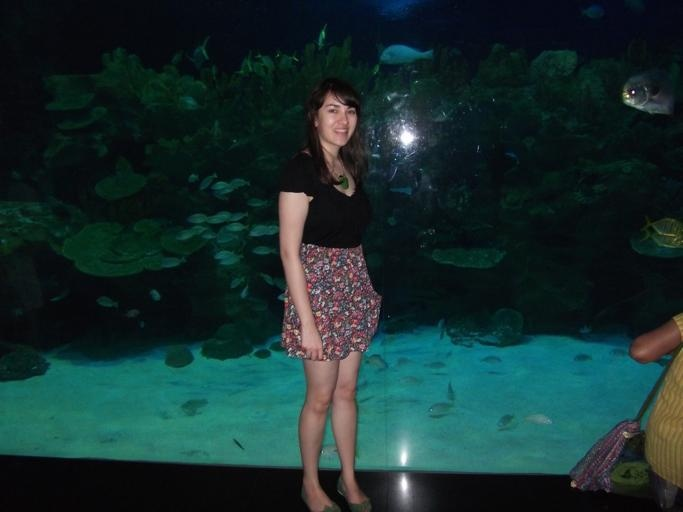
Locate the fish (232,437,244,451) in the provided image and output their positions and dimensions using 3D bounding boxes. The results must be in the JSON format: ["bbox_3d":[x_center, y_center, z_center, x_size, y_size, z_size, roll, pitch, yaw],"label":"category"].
[{"bbox_3d":[-0.821,1.480,4.190,0.142,0.045,0.037,36,30,31],"label":"fish"}]

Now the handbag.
[{"bbox_3d":[1.656,1.262,3.205,0.482,0.615,0.179,10,51,19],"label":"handbag"}]

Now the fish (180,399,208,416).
[{"bbox_3d":[-1.210,1.232,4.339,0.209,0.111,0.085,0,17,-11],"label":"fish"}]

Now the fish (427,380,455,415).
[{"bbox_3d":[0.831,1.167,4.276,0.234,0.225,0.130,-12,23,-41],"label":"fish"}]

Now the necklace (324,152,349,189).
[{"bbox_3d":[-0.008,-0.471,3.114,0.118,0.157,0.236,9,17,19],"label":"necklace"}]
